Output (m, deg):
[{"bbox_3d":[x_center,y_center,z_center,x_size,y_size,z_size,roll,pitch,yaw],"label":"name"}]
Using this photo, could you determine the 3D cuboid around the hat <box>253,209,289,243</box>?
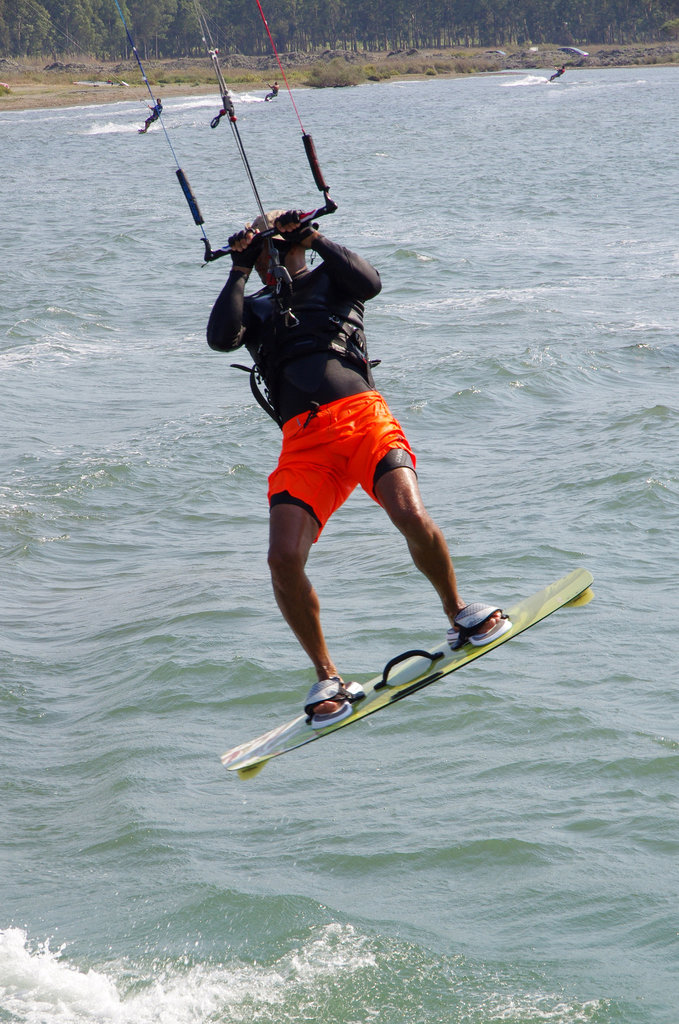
[{"bbox_3d":[-0.355,-1.339,6.929,0.203,0.140,0.133,7,13,16],"label":"hat"}]

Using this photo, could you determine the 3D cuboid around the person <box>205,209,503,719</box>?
[{"bbox_3d":[-0.025,-0.256,6.639,0.887,2.096,1.370,-17,21,4],"label":"person"}]

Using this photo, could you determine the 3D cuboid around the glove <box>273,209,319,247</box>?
[{"bbox_3d":[-0.185,-1.284,6.786,0.190,0.172,0.069,7,69,25],"label":"glove"}]

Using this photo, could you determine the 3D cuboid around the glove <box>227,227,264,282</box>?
[{"bbox_3d":[-0.411,-1.163,6.750,0.193,0.196,0.073,-12,45,-5],"label":"glove"}]

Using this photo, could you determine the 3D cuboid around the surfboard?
[{"bbox_3d":[0.419,0.922,8.367,1.970,0.282,0.431,-25,18,-5],"label":"surfboard"}]
